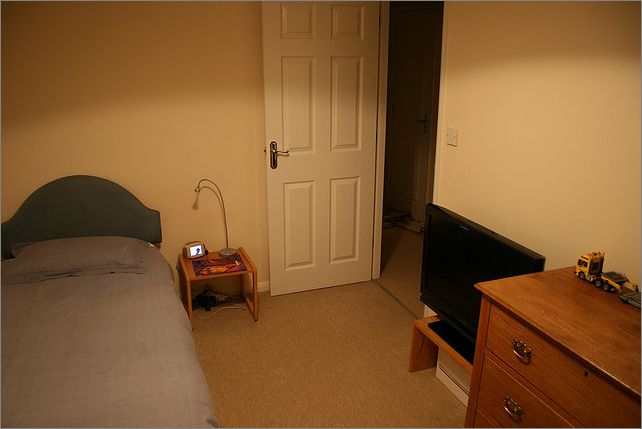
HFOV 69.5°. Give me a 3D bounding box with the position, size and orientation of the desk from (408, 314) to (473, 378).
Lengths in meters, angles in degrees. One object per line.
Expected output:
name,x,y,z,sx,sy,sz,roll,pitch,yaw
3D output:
desk,0.800,0.880,3.081,0.287,0.380,0.404,-8,30,-17

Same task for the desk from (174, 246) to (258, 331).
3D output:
desk,-0.895,0.613,3.943,0.657,0.471,0.621,-2,14,-11

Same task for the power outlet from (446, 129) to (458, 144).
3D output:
power outlet,0.899,-0.537,3.193,0.013,0.100,0.086,-6,20,-28

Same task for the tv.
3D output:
tv,0.950,0.387,2.680,0.225,0.776,0.874,-5,19,-19
